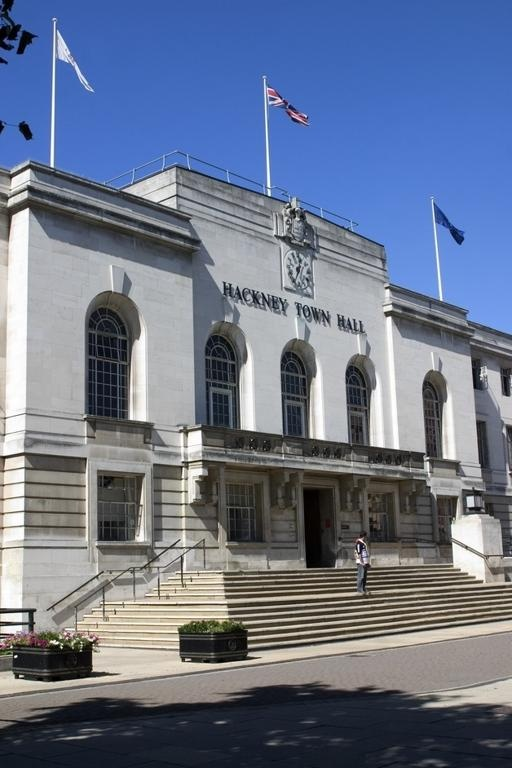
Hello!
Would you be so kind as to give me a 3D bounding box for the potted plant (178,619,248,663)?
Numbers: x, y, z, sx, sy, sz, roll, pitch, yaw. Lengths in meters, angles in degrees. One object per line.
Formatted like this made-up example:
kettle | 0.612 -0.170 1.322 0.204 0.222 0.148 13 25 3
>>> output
potted plant | -0.996 5.735 17.198 0.932 0.677 1.274 -9 -17 29
